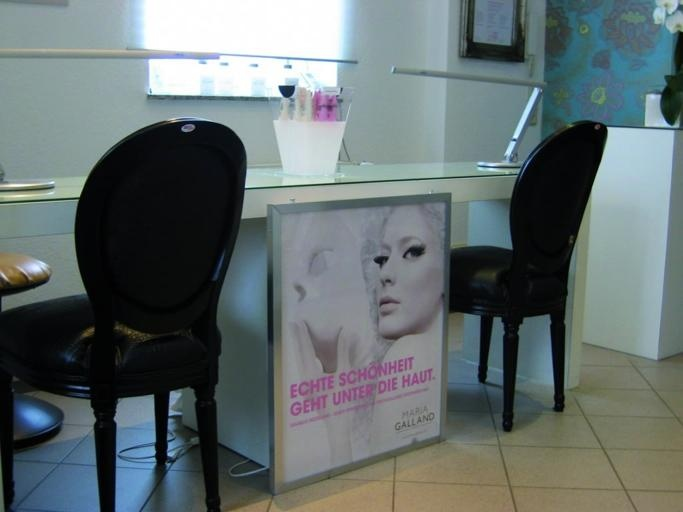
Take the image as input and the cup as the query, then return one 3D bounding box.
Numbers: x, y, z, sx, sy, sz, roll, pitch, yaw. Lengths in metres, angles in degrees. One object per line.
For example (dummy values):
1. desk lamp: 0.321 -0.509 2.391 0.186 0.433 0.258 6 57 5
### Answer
1. cup: -0.116 -0.420 2.143 0.303 0.380 0.270 -6 11 -40
